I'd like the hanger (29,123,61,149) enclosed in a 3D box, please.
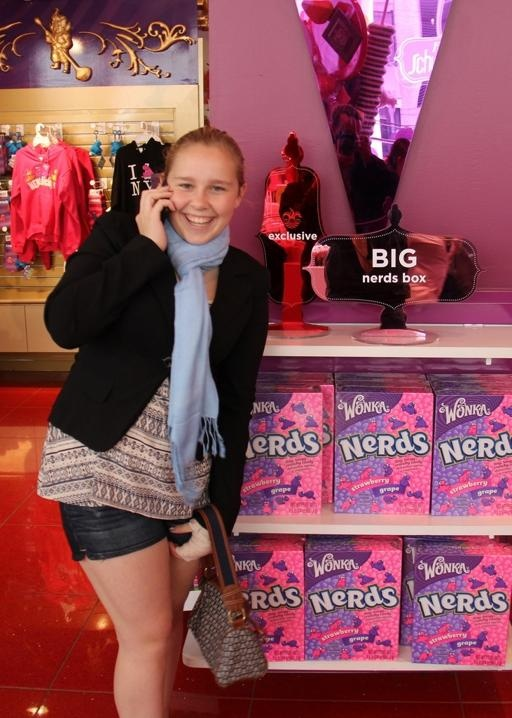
[{"bbox_3d":[-1.859,-1.991,4.843,0.246,0.113,0.281,2,67,-7],"label":"hanger"}]

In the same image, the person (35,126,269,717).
[{"bbox_3d":[-0.211,0.194,1.167,0.300,1.264,0.585,11,28,23],"label":"person"}]
